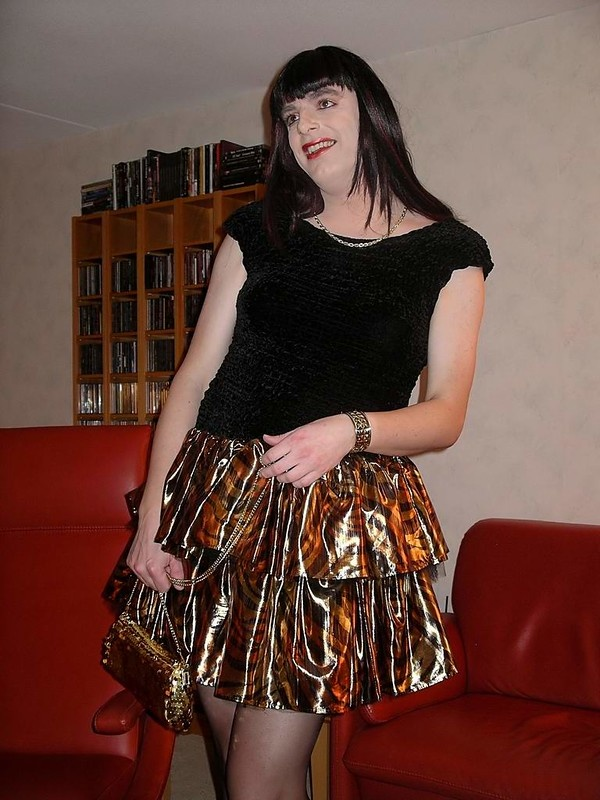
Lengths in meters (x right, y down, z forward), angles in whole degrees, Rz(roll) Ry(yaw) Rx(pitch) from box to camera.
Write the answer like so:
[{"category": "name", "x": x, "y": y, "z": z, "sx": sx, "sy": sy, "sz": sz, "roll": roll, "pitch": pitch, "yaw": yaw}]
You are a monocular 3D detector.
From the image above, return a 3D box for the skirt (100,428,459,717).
[{"category": "skirt", "x": -0.004, "y": 0.209, "z": 1.123, "sx": 0.582, "sy": 0.360, "sz": 0.367, "roll": 6, "pitch": -4, "yaw": 15}]

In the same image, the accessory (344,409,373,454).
[{"category": "accessory", "x": 0.077, "y": 0.038, "z": 0.904, "sx": 0.044, "sy": 0.046, "sz": 0.043, "roll": 0, "pitch": 22, "yaw": -26}]
